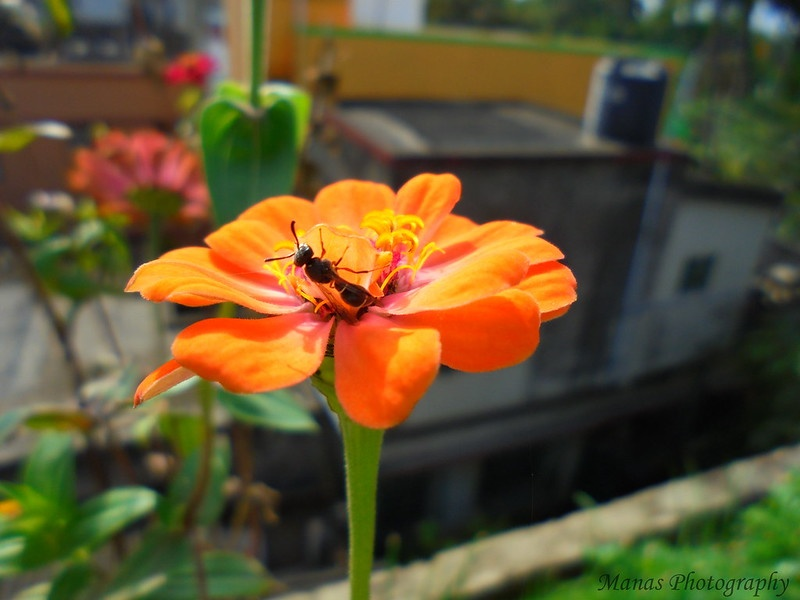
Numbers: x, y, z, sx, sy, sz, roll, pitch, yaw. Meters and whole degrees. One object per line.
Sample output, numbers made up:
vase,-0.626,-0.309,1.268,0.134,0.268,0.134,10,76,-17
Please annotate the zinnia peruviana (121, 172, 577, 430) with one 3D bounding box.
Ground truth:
zinnia peruviana,-0.038,-0.006,0.646,0.391,0.163,0.233,6,32,5
